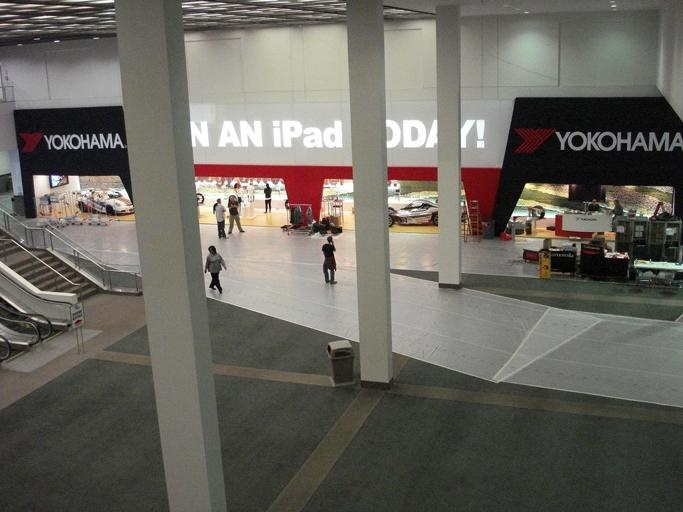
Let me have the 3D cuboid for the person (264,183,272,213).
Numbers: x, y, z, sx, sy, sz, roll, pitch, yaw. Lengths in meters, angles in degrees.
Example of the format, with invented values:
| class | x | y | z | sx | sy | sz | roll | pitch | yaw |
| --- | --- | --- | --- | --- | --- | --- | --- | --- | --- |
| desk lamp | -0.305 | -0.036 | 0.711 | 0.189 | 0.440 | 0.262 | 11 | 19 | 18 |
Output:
| class | x | y | z | sx | sy | sz | roll | pitch | yaw |
| --- | --- | --- | --- | --- | --- | --- | --- | --- | --- |
| person | -4.129 | -3.204 | 27.599 | 0.390 | 1.631 | 1.015 | -4 | 12 | -8 |

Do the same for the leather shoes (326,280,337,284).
| class | x | y | z | sx | sy | sz | roll | pitch | yaw |
| --- | --- | --- | --- | --- | --- | --- | --- | --- | --- |
| leather shoes | -0.351 | 0.914 | 16.748 | 0.321 | 0.146 | 0.123 | -3 | 35 | -1 |

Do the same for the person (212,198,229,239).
| class | x | y | z | sx | sy | sz | roll | pitch | yaw |
| --- | --- | --- | --- | --- | --- | --- | --- | --- | --- |
| person | -5.697 | -1.704 | 23.089 | 0.396 | 1.743 | 1.016 | -4 | 12 | -10 |

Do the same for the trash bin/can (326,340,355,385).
| class | x | y | z | sx | sy | sz | roll | pitch | yaw |
| --- | --- | --- | --- | --- | --- | --- | --- | --- | --- |
| trash bin/can | 0.003 | 2.281 | 10.392 | 0.513 | 0.859 | 0.373 | -3 | 12 | -4 |

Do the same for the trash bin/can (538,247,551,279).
| class | x | y | z | sx | sy | sz | roll | pitch | yaw |
| --- | --- | --- | --- | --- | --- | --- | --- | --- | --- |
| trash bin/can | 6.932 | 0.278 | 16.723 | 0.332 | 0.863 | 0.874 | 1 | 12 | 11 |

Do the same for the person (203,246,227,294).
| class | x | y | z | sx | sy | sz | roll | pitch | yaw |
| --- | --- | --- | --- | --- | --- | --- | --- | --- | --- |
| person | -4.158 | 0.430 | 16.113 | 0.567 | 1.651 | 1.204 | -5 | 13 | -15 |

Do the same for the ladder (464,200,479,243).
| class | x | y | z | sx | sy | sz | roll | pitch | yaw |
| --- | --- | --- | --- | --- | --- | --- | --- | --- | --- |
| ladder | 5.882 | -1.634 | 22.066 | 0.813 | 1.616 | 0.904 | 1 | 13 | 14 |
